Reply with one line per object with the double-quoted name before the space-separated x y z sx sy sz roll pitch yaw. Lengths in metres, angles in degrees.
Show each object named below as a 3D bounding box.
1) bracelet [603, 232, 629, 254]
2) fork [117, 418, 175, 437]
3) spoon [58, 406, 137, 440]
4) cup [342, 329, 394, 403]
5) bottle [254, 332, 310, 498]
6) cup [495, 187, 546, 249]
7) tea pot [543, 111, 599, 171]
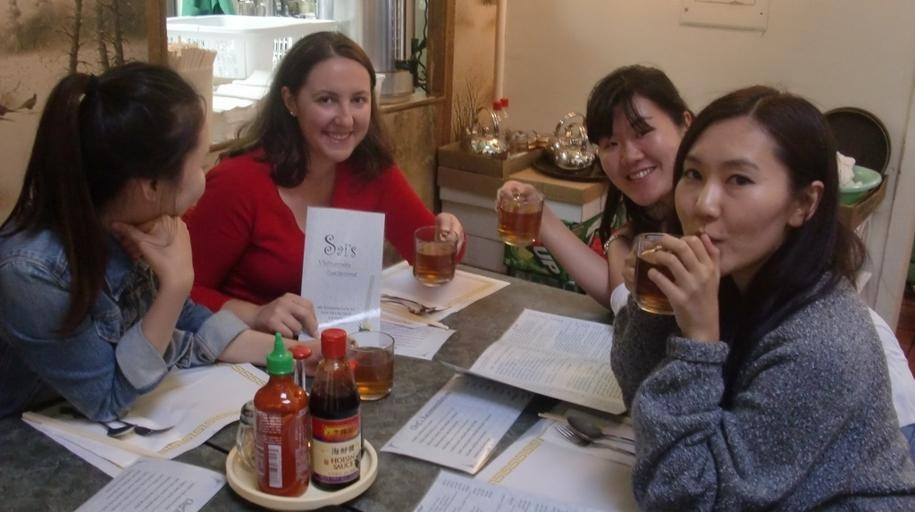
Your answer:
"bracelet" 0.646 -0.056 2.467 0.069 0.032 0.092 14 55 44
"fork" -0.886 0.484 1.700 0.099 0.019 0.016 17 2 16
"spoon" -1.021 0.472 1.703 0.192 0.025 0.035 16 65 10
"cup" -0.250 0.327 1.845 0.181 0.185 0.186 0 16 0
"bottle" -0.437 0.442 1.488 0.132 0.299 0.112 -1 26 -6
"cup" 0.236 -0.149 2.248 0.204 0.210 0.203 1 12 0
"tea pot" 0.738 -0.754 3.761 0.349 0.338 0.360 -3 21 1
